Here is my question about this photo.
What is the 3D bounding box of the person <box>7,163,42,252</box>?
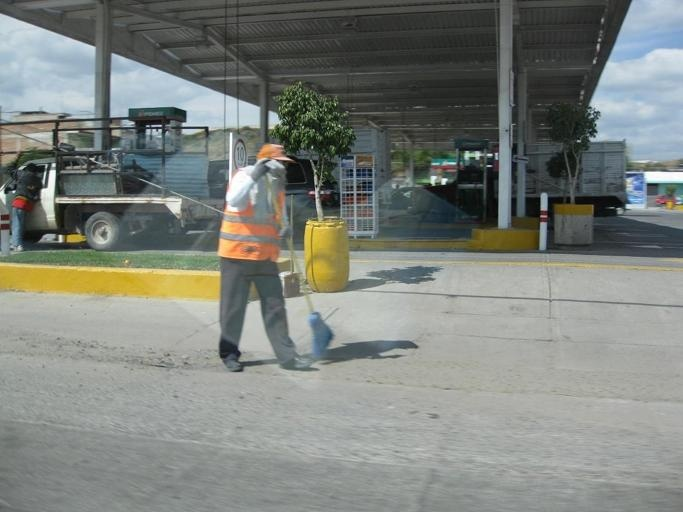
[{"bbox_3d":[-7.825,-1.154,15.444,0.957,2.105,0.931,11,11,-9],"label":"person"}]
